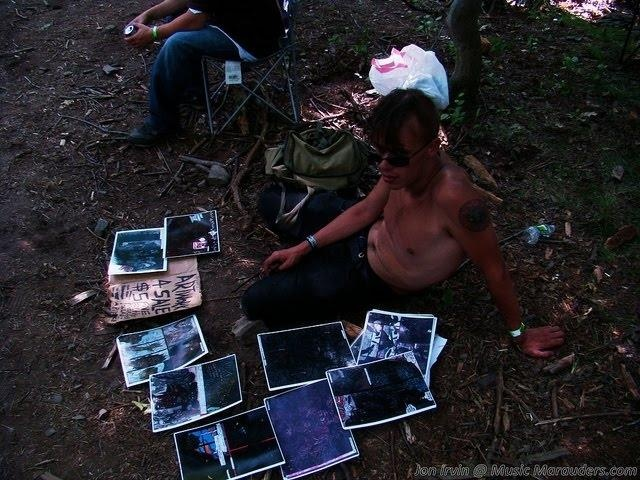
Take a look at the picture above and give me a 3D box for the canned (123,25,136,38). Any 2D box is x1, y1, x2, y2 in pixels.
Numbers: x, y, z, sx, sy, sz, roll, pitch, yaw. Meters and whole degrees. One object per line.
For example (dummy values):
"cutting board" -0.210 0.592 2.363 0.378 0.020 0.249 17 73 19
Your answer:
"canned" -1.757 -1.942 4.478 0.132 0.050 0.128 7 64 21

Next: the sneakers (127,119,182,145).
"sneakers" -1.660 -1.051 4.830 0.562 0.250 0.201 -15 74 -10

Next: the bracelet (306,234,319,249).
"bracelet" -0.056 -0.001 3.782 0.075 0.115 0.103 -32 46 -7

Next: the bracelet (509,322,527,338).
"bracelet" 1.386 0.627 3.372 0.115 0.054 0.087 -30 23 3
